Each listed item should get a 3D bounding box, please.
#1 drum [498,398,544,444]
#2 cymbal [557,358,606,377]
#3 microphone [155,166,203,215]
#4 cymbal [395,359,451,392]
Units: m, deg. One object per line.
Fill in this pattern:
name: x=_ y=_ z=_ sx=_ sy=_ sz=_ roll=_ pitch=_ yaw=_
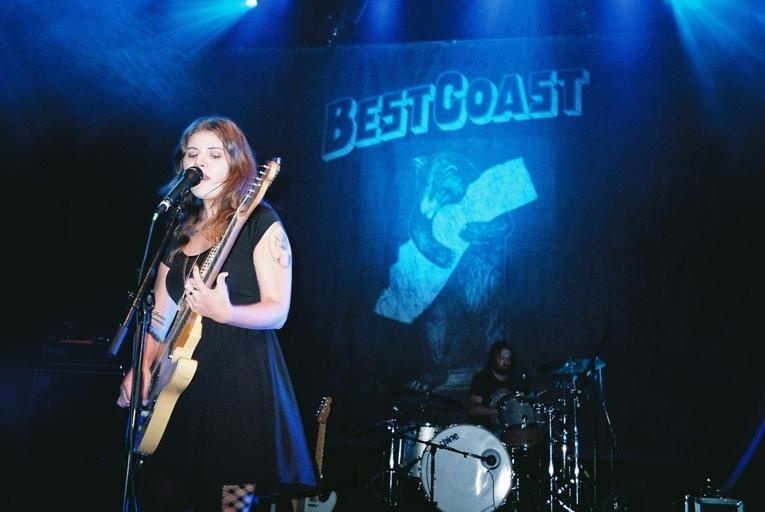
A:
drum: x=1.572 y=1.871 z=7.672 sx=0.482 sy=0.430 sz=0.492 roll=-10 pitch=-27 yaw=9
cymbal: x=2.320 y=1.257 z=7.786 sx=0.372 sy=0.262 sz=0.761 roll=-8 pitch=-17 yaw=41
microphone: x=-1.419 y=-0.459 z=4.856 sx=0.172 sy=0.516 sz=0.169 roll=20 pitch=-43 yaw=13
cymbal: x=0.534 y=1.480 z=8.079 sx=0.528 sy=0.270 sz=0.141 roll=-7 pitch=-2 yaw=1
